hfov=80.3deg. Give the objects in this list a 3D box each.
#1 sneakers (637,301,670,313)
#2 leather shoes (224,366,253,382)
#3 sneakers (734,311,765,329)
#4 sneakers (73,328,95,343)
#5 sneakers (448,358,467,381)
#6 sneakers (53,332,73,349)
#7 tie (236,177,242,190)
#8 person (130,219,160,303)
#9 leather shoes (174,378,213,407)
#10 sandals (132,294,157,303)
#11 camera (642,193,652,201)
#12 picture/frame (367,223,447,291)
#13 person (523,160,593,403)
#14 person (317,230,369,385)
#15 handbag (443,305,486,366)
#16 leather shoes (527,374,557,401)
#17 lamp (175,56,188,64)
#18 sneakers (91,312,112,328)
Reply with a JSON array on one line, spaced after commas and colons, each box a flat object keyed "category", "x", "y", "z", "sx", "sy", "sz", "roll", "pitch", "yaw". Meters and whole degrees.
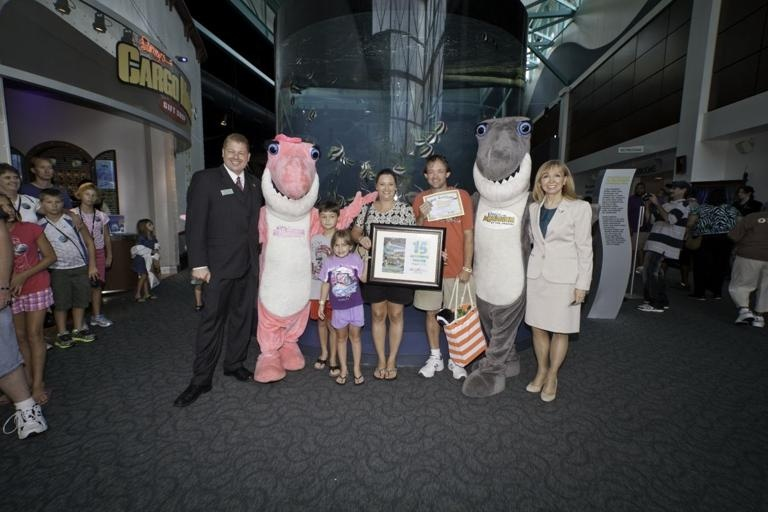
[{"category": "sneakers", "x": 4.653, "y": 0.920, "z": 7.926, "sx": 0.503, "sy": 0.251, "sz": 0.209, "roll": -8, "pitch": 0, "yaw": 28}, {"category": "leather shoes", "x": -1.745, "y": 1.447, "z": 5.570, "sx": 0.376, "sy": 0.168, "sz": 0.152, "roll": 0, "pitch": 0, "yaw": 14}, {"category": "sneakers", "x": 5.822, "y": 1.018, "z": 7.267, "sx": 0.199, "sy": 0.239, "sz": 0.527, "roll": 1, "pitch": -12, "yaw": 18}, {"category": "sneakers", "x": -4.187, "y": 1.108, "z": 6.384, "sx": 0.375, "sy": 0.188, "sz": 0.149, "roll": 7, "pitch": 2, "yaw": -5}, {"category": "sneakers", "x": 0.916, "y": 1.395, "z": 5.651, "sx": 0.150, "sy": 0.118, "sz": 0.282, "roll": -18, "pitch": 19, "yaw": -16}, {"category": "sneakers", "x": -4.395, "y": 1.153, "z": 6.247, "sx": 0.309, "sy": 0.153, "sz": 0.134, "roll": 0, "pitch": -2, "yaw": 32}, {"category": "tie", "x": -1.722, "y": -0.870, "z": 5.426, "sx": 0.041, "sy": 0.172, "sz": 0.043, "roll": -11, "pitch": -17, "yaw": -4}, {"category": "person", "x": -4.227, "y": 0.057, "z": 8.080, "sx": 0.447, "sy": 1.356, "sz": 0.694, "roll": -6, "pitch": 15, "yaw": -28}, {"category": "leather shoes", "x": -2.183, "y": 1.560, "z": 5.273, "sx": 0.157, "sy": 0.202, "sz": 0.434, "roll": 8, "pitch": 15, "yaw": 25}, {"category": "sandals", "x": -4.136, "y": 0.737, "z": 7.939, "sx": 0.367, "sy": 0.062, "sz": 0.281, "roll": -10, "pitch": 18, "yaw": -38}, {"category": "camera", "x": 4.702, "y": -1.052, "z": 8.130, "sx": 0.155, "sy": 0.062, "sz": 0.123, "roll": -23, "pitch": -19, "yaw": 31}, {"category": "picture/frame", "x": 0.255, "y": 0.015, "z": 5.373, "sx": 0.661, "sy": 0.616, "sz": 0.074, "roll": 6, "pitch": -3, "yaw": 4}, {"category": "person", "x": 1.989, "y": 0.287, "z": 5.280, "sx": 0.729, "sy": 2.702, "sz": 0.641, "roll": 6, "pitch": 14, "yaw": 24}, {"category": "person", "x": -0.496, "y": 0.607, "z": 5.483, "sx": 0.543, "sy": 1.813, "sz": 0.449, "roll": 0, "pitch": 13, "yaw": -2}, {"category": "handbag", "x": 0.984, "y": 0.930, "z": 5.483, "sx": 0.496, "sy": 0.687, "sz": 0.260, "roll": -26, "pitch": 7, "yaw": -15}, {"category": "leather shoes", "x": 1.903, "y": 1.531, "z": 5.379, "sx": 0.226, "sy": 0.123, "sz": 0.308, "roll": 6, "pitch": 6, "yaw": 39}, {"category": "lamp", "x": -4.639, "y": -4.495, "z": 10.413, "sx": 0.243, "sy": 0.094, "sz": 0.176, "roll": 28, "pitch": 20, "yaw": 28}, {"category": "sneakers", "x": -4.238, "y": 0.952, "z": 6.874, "sx": 0.366, "sy": 0.182, "sz": 0.165, "roll": 7, "pitch": 6, "yaw": -1}]
